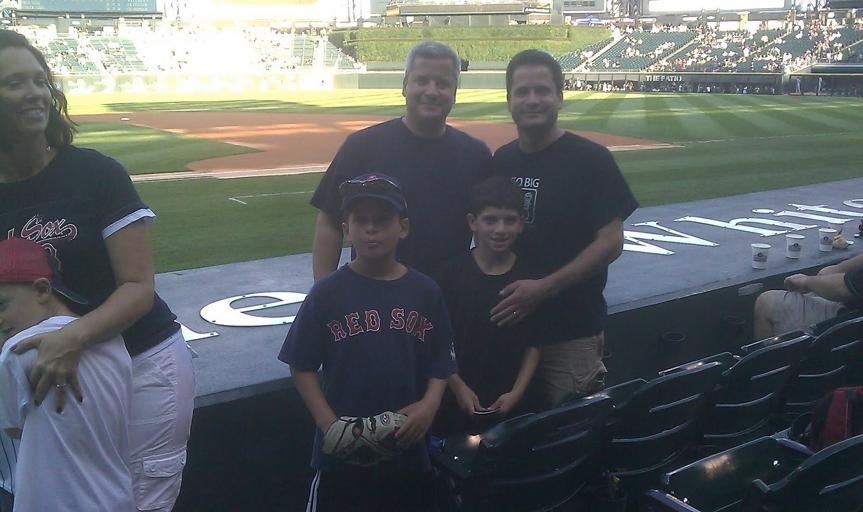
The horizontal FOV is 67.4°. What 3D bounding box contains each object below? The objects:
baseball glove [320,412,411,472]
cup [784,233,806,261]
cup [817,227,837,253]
[{"bbox_3d":[-0.317,0.889,3.087,0.387,0.220,0.142,1,44,-13],"label":"baseball glove"},{"bbox_3d":[3.391,-0.085,6.073,0.244,0.230,0.249,0,7,0],"label":"cup"},{"bbox_3d":[3.753,-0.154,6.169,0.133,0.195,0.187,10,25,29],"label":"cup"}]
